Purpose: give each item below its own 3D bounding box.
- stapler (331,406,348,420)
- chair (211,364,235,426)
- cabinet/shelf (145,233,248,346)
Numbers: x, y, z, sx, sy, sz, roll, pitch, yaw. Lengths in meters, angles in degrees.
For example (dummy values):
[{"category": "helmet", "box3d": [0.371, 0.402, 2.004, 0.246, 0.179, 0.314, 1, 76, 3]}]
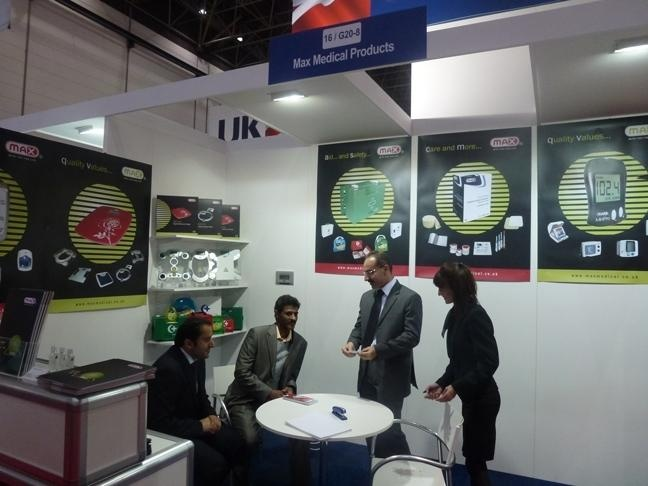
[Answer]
[{"category": "stapler", "box3d": [0.116, 1.205, 3.457, 0.041, 0.072, 0.139, 1, 1, -34]}, {"category": "chair", "box3d": [-0.941, 1.415, 4.387, 0.227, 0.367, 0.211, -5, -19, 19]}, {"category": "cabinet/shelf", "box3d": [-1.319, 0.466, 4.964, 0.328, 1.114, 1.120, -3, -5, 34]}]
